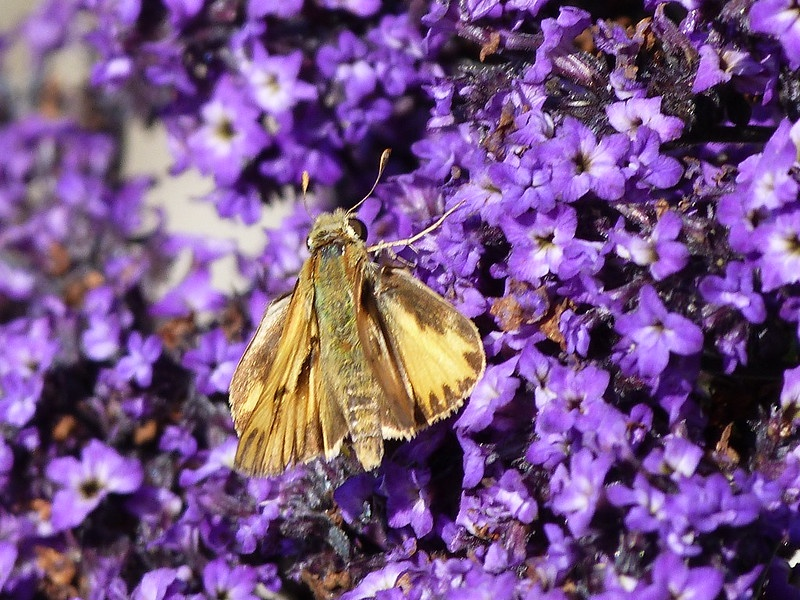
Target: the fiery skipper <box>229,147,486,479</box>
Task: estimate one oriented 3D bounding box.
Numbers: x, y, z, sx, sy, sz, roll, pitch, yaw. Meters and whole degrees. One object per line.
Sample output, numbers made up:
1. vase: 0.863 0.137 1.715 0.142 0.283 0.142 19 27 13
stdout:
1. fiery skipper: -0.122 0.124 2.267 0.416 0.226 0.611 -15 61 27
